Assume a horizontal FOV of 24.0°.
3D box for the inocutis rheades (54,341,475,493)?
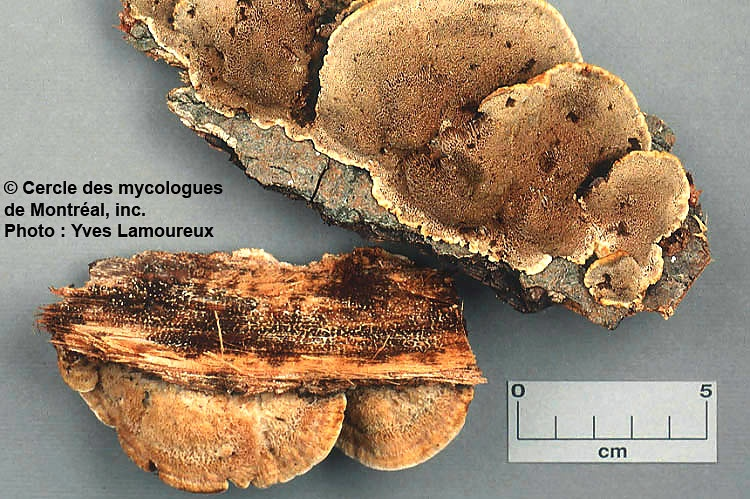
[{"bbox_3d":[-0.811,1.679,14.988,2.876,1.356,2.121,-13,21,-19],"label":"inocutis rheades"}]
